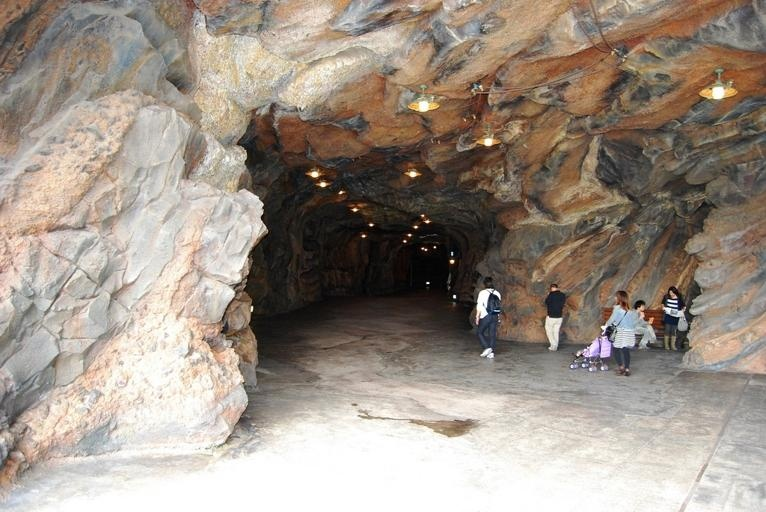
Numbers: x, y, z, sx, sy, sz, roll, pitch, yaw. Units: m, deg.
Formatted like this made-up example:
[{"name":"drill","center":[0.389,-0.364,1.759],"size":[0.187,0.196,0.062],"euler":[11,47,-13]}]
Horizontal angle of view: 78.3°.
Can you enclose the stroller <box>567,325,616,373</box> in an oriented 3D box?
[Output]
[{"name":"stroller","center":[4.575,1.983,10.377],"size":[0.763,0.717,0.572],"euler":[-2,3,19]}]

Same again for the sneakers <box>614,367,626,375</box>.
[{"name":"sneakers","center":[4.982,2.309,9.700],"size":[0.129,0.095,0.253],"euler":[-1,3,-3]}]

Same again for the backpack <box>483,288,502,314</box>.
[{"name":"backpack","center":[2.847,1.146,11.766],"size":[0.395,0.446,0.183],"euler":[0,0,-27]}]

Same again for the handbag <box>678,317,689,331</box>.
[{"name":"handbag","center":[7.802,1.681,12.014],"size":[0.491,0.335,0.170],"euler":[0,0,-44]}]

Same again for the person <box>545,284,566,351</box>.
[{"name":"person","center":[4.735,1.610,12.721],"size":[0.462,1.193,0.736],"euler":[0,0,19]}]

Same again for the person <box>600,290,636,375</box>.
[{"name":"person","center":[5.088,1.581,9.734],"size":[0.639,1.584,0.746],"euler":[18,-16,-38]}]

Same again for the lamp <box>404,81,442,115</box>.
[{"name":"lamp","center":[0.766,-2.906,9.089],"size":[0.623,0.414,0.569],"euler":[5,11,22]}]

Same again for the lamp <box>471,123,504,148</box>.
[{"name":"lamp","center":[2.560,-2.667,10.997],"size":[0.525,0.368,0.459],"euler":[0,2,-3]}]

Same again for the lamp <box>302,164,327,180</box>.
[{"name":"lamp","center":[-2.116,-2.521,15.010],"size":[0.381,0.307,0.370],"euler":[0,0,37]}]

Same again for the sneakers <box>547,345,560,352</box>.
[{"name":"sneakers","center":[4.645,2.427,12.660],"size":[0.165,0.209,0.255],"euler":[2,3,-43]}]

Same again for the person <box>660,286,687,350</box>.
[{"name":"person","center":[7.771,1.603,12.349],"size":[0.460,1.601,1.233],"euler":[0,0,31]}]
